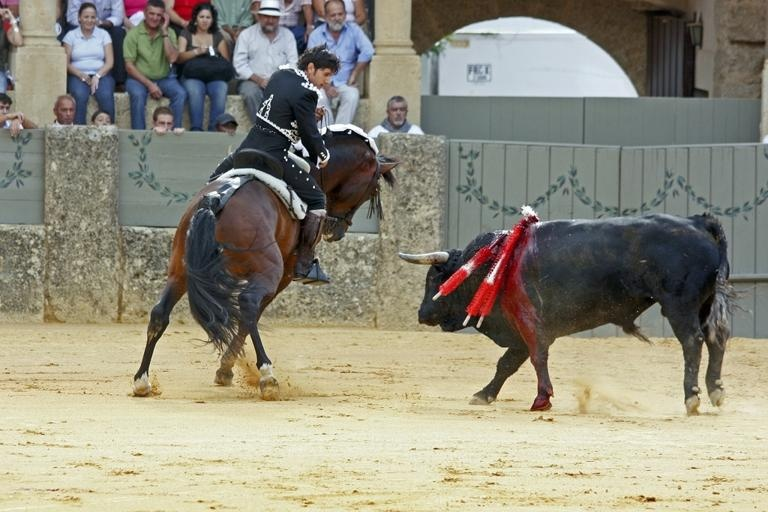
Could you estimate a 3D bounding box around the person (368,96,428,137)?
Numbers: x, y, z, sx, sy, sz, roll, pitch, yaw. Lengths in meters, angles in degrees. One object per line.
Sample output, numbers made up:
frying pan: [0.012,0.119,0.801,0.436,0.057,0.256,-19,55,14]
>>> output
person: [0.186,-1.890,29.351,0.940,0.610,0.437,1,5,-4]

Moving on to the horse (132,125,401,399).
horse: [-1.319,0.004,25.935,1.193,3.261,4.478,10,8,23]
